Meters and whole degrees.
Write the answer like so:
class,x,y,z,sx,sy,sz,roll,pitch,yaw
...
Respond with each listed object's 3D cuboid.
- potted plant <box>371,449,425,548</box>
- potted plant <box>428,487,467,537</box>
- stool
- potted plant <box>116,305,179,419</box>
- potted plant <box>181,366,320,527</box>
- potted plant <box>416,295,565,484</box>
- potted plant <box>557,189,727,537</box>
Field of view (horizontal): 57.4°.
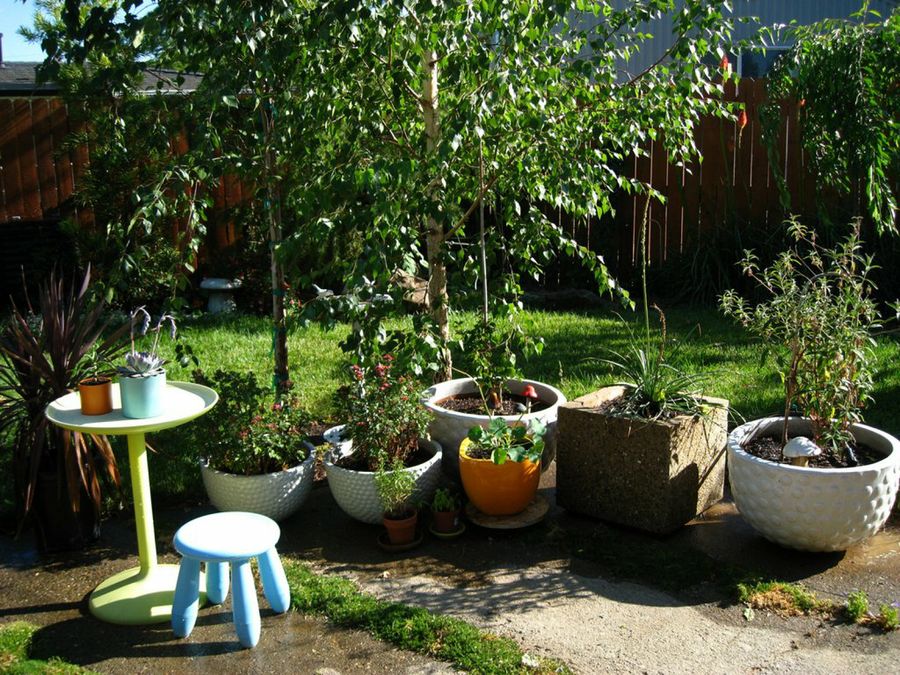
class,x,y,z,sx,sy,sz,roll,pitch,yaw
potted plant,-0.280,0.882,4.441,0.224,0.452,0.283,-2,3,-4
potted plant,-0.029,0.943,4.522,0.199,0.282,0.222,-2,7,-8
stool,-0.982,1.021,3.903,0.444,0.540,0.554,3,17,8
potted plant,-1.429,0.136,3.947,0.226,0.506,0.265,2,5,7
potted plant,-1.131,0.610,4.689,0.670,1.125,0.745,8,13,40
potted plant,0.253,0.306,5.104,0.797,1.131,0.827,-5,10,-22
potted plant,1.056,0.476,4.545,0.952,1.126,0.599,-2,3,13
